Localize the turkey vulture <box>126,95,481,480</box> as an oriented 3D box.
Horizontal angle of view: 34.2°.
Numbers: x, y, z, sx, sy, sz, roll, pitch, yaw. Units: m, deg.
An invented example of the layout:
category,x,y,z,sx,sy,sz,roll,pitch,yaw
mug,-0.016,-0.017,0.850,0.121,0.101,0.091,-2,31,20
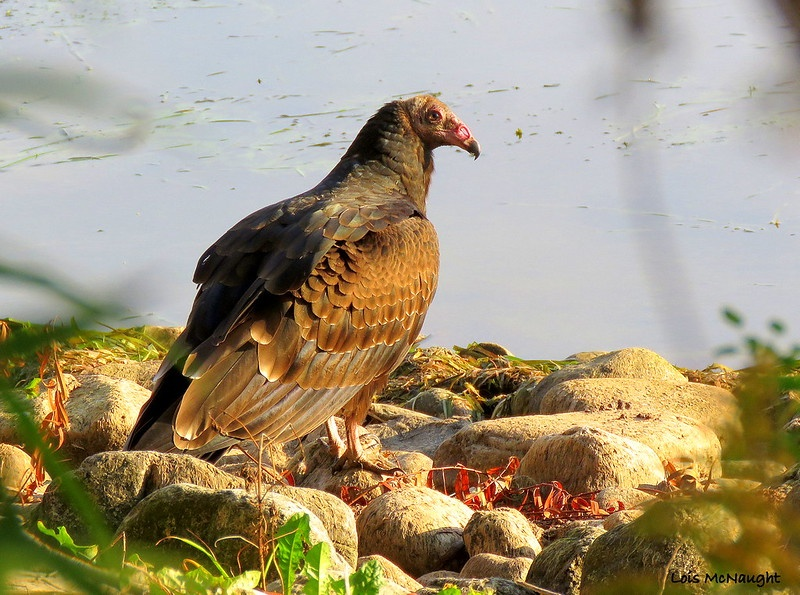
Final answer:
category,x,y,z,sx,sy,sz,roll,pitch,yaw
turkey vulture,-0.517,-0.095,5.815,1.011,1.581,2.103,19,18,37
